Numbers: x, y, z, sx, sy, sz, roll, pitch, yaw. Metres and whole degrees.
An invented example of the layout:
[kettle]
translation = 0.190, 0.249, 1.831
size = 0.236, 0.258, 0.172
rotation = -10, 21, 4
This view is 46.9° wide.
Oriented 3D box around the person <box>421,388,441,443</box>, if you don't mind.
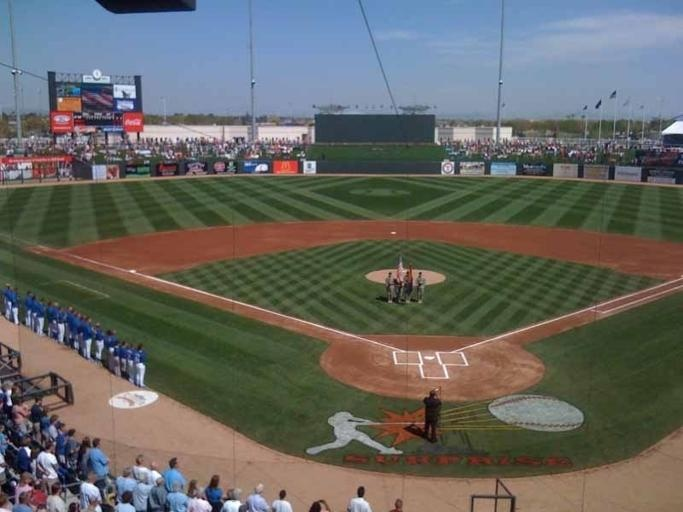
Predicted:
[person]
translation = 3.127, 5.548, 27.439
size = 0.540, 2.016, 0.674
rotation = 0, 12, 5
